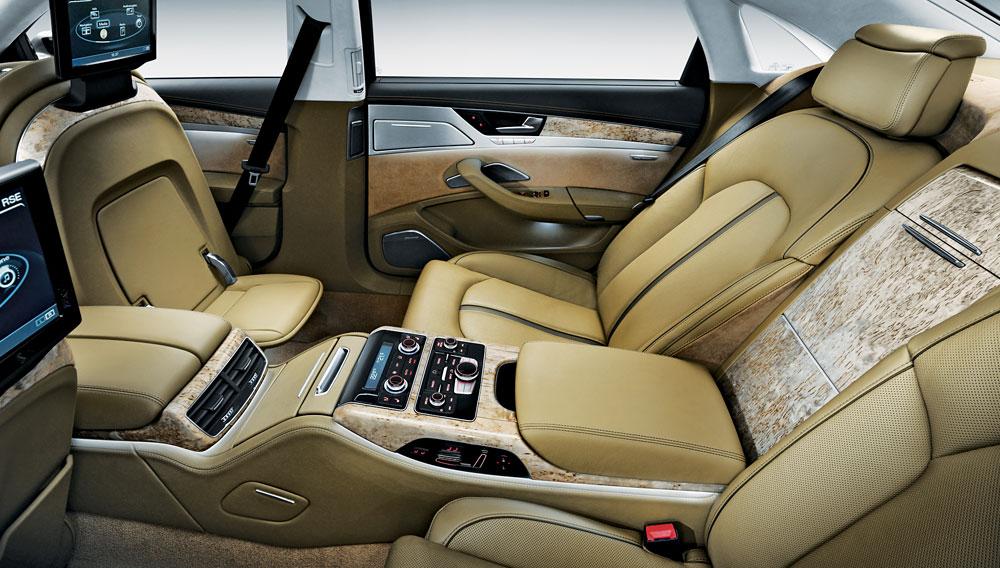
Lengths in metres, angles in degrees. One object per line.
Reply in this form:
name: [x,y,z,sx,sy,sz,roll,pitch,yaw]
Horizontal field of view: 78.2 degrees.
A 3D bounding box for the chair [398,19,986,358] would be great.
chair: [0.500,-0.318,2.031,1.464,0.863,0.958,6,19,0]
